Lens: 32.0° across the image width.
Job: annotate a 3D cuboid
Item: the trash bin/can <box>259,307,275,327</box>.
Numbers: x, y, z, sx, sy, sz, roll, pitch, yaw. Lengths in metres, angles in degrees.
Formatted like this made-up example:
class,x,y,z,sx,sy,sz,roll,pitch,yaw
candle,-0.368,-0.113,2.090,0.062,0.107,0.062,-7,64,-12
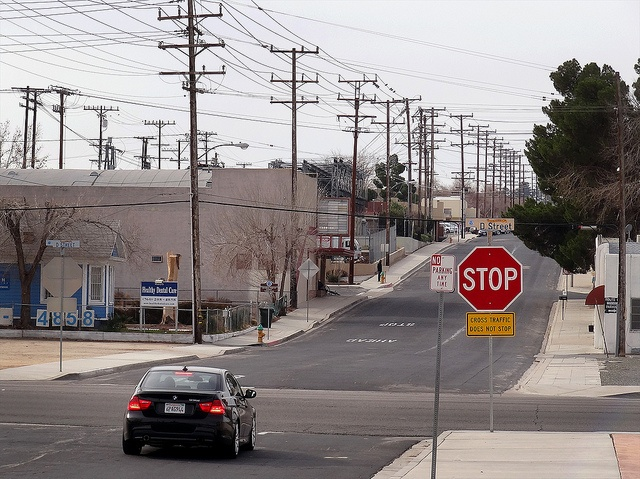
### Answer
class,x,y,z,sx,sy,sz,roll,pitch,yaw
trash bin/can,-2.744,3.947,57.802,0.910,1.055,1.078,-2,-1,38

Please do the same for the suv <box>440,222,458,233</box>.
class,x,y,z,sx,sy,sz,roll,pitch,yaw
suv,16.759,-1.558,145.522,3.430,1.224,1.522,-6,8,-42

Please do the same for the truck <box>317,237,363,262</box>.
class,x,y,z,sx,sy,sz,roll,pitch,yaw
truck,1.330,0.710,79.538,3.470,1.740,2.098,0,-1,4

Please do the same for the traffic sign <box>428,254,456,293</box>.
class,x,y,z,sx,sy,sz,roll,pitch,yaw
traffic sign,3.075,0.833,27.901,0.585,0.945,0.922,-1,-2,6

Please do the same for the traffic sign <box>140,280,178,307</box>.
class,x,y,z,sx,sy,sz,roll,pitch,yaw
traffic sign,-7.883,2.657,54.834,1.308,0.901,0.097,2,7,8
